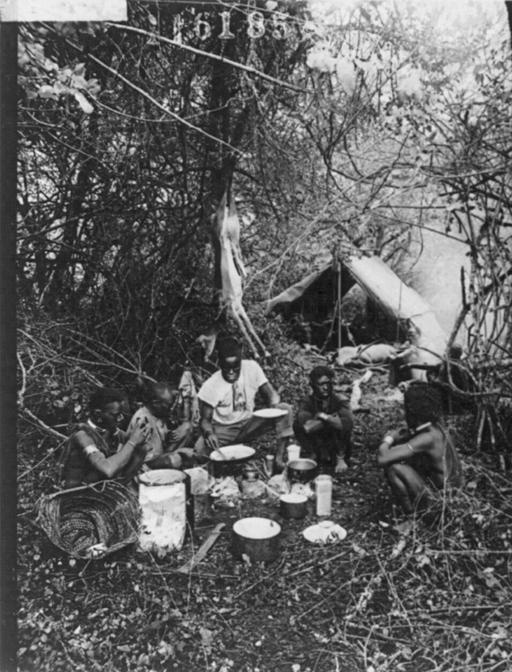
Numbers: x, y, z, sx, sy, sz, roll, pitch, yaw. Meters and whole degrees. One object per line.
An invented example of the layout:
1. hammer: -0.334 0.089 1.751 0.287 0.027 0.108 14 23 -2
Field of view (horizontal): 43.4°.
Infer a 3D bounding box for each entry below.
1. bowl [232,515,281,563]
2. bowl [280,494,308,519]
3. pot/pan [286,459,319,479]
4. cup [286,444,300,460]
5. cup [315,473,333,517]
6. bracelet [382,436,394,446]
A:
1. bowl: -0.005 1.051 3.379 0.209 0.133 0.216 0 -3 0
2. bowl: 0.202 0.914 3.447 0.122 0.077 0.121 1 2 0
3. pot/pan: 0.246 0.710 3.503 0.114 0.047 0.118 -5 -6 39
4. cup: 0.203 0.629 3.515 0.076 0.111 0.080 3 -1 0
5. cup: 0.360 0.856 3.467 0.102 0.147 0.069 3 2 5
6. bracelet: 0.715 0.560 3.472 0.052 0.052 0.037 -39 9 8
